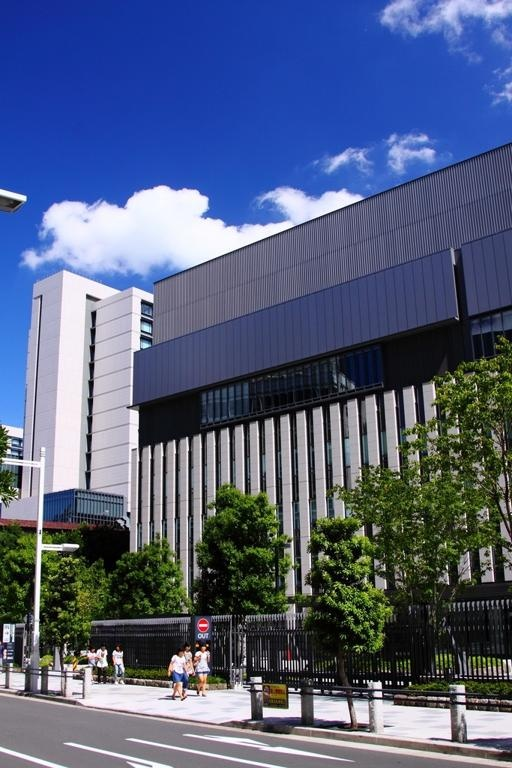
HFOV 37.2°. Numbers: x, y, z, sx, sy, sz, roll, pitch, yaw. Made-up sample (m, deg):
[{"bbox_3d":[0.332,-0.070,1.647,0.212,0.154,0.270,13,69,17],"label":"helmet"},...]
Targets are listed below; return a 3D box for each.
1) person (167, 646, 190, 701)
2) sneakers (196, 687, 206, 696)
[{"bbox_3d":[-2.156,8.228,21.580,0.498,1.328,1.694,-1,-13,-6],"label":"person"},{"bbox_3d":[-1.573,9.085,22.463,0.176,0.248,0.588,6,-32,-10],"label":"sneakers"}]
